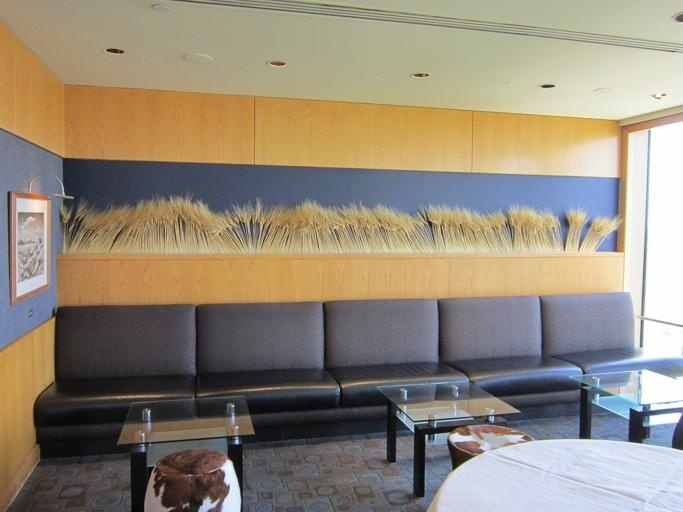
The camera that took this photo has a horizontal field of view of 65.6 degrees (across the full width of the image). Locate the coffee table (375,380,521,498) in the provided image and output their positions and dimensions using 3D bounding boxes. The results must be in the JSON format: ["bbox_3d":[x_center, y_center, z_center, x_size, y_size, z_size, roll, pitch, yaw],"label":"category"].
[{"bbox_3d":[0.630,1.029,3.321,0.754,0.369,0.674,-1,8,-19],"label":"coffee table"}]

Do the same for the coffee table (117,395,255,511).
[{"bbox_3d":[-0.900,1.039,3.048,0.669,0.405,0.591,0,5,-12],"label":"coffee table"}]
